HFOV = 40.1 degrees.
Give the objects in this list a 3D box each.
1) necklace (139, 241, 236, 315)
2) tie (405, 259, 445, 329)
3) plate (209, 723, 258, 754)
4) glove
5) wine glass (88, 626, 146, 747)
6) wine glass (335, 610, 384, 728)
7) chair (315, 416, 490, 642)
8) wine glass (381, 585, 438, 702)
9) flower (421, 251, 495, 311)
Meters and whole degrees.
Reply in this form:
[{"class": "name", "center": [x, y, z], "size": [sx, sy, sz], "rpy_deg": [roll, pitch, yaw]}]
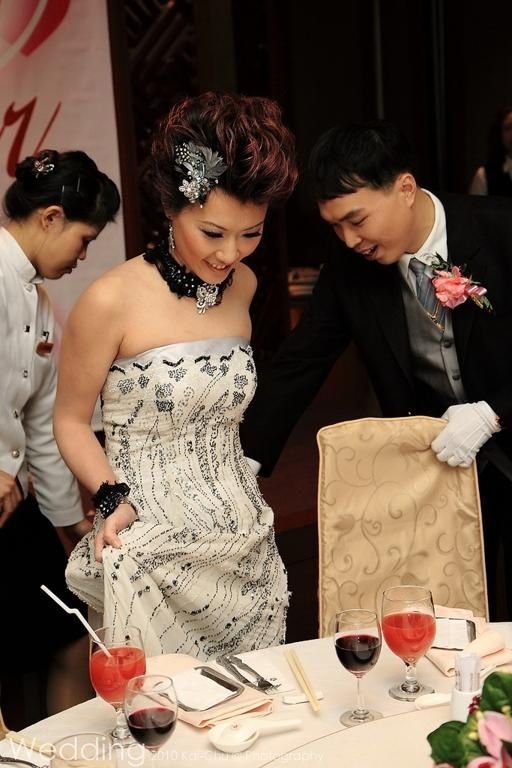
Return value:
[{"class": "necklace", "center": [-0.177, -0.265, 1.774], "size": [0.207, 0.060, 0.193], "rpy_deg": [22, -19, 20]}, {"class": "tie", "center": [0.508, -0.275, 2.137], "size": [0.073, 0.200, 0.114], "rpy_deg": [3, 15, 10]}, {"class": "plate", "center": [-0.030, 0.479, 0.951], "size": [0.066, 0.020, 0.057], "rpy_deg": [-6, 0, -4]}, {"class": "glove", "center": [0.555, 0.124, 1.865], "size": [0.149, 0.061, 0.207], "rpy_deg": [29, 36, 13]}, {"class": "wine glass", "center": [-0.184, 0.439, 1.028], "size": [0.088, 0.144, 0.088], "rpy_deg": [-8, 18, -23]}, {"class": "wine glass", "center": [0.144, 0.413, 1.013], "size": [0.078, 0.129, 0.081], "rpy_deg": [-3, 1, 7]}, {"class": "chair", "center": [0.406, 0.309, 1.840], "size": [0.380, 0.554, 0.394], "rpy_deg": [-1, 8, 19]}, {"class": "wine glass", "center": [0.231, 0.390, 1.078], "size": [0.103, 0.149, 0.107], "rpy_deg": [-3, 1, 11]}, {"class": "flower", "center": [0.583, -0.299, 2.043], "size": [0.174, 0.163, 0.130], "rpy_deg": [-6, 1, 17]}]
